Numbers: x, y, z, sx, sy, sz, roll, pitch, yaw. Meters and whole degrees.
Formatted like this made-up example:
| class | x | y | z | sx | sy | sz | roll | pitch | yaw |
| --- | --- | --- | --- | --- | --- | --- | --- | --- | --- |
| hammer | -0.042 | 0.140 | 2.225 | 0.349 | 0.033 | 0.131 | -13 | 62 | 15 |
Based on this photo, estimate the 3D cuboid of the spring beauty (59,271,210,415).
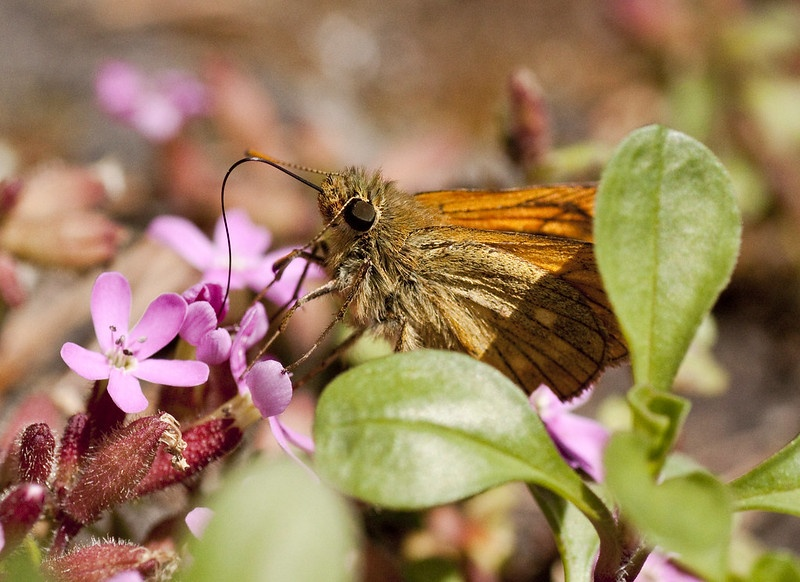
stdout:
| class | x | y | z | sx | sy | sz | roll | pitch | yaw |
| --- | --- | --- | --- | --- | --- | --- | --- | --- | --- |
| spring beauty | -0.953 | 0.198 | 3.146 | 0.494 | 0.534 | 0.242 | 4 | -19 | -21 |

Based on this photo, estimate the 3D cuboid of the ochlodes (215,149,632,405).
| class | x | y | z | sx | sy | sz | roll | pitch | yaw |
| --- | --- | --- | --- | --- | --- | --- | --- | --- | --- |
| ochlodes | 0.249 | 0.065 | 3.879 | 1.253 | 0.801 | 1.124 | 15 | 1 | 1 |

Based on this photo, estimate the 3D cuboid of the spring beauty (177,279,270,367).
| class | x | y | z | sx | sy | sz | roll | pitch | yaw |
| --- | --- | --- | --- | --- | --- | --- | --- | --- | --- |
| spring beauty | -0.660 | 0.096 | 3.249 | 0.213 | 0.291 | 0.340 | -4 | 12 | 16 |
